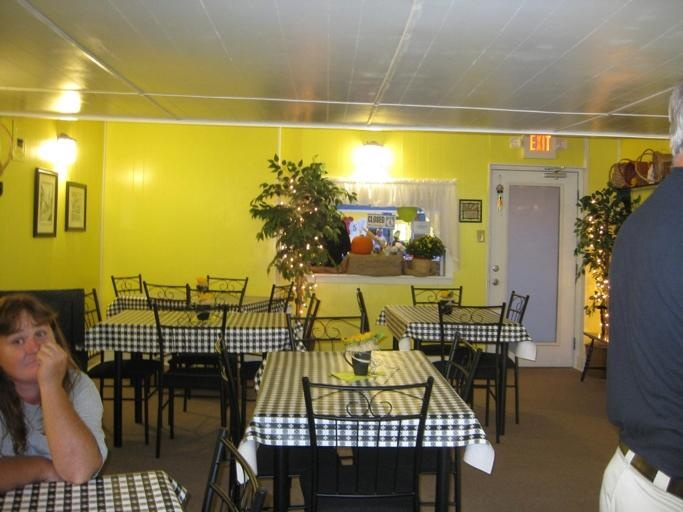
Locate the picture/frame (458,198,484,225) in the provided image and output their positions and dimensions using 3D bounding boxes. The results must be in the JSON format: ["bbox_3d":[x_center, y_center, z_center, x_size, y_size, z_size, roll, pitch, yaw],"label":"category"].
[{"bbox_3d":[1.556,-0.547,6.419,0.277,0.313,0.023,1,0,-7],"label":"picture/frame"}]

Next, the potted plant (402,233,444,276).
[{"bbox_3d":[0.999,-0.059,6.345,0.445,0.537,0.444,2,6,28],"label":"potted plant"}]

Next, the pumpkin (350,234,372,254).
[{"bbox_3d":[0.252,-0.134,6.342,0.200,0.209,0.216,3,-2,-7],"label":"pumpkin"}]
